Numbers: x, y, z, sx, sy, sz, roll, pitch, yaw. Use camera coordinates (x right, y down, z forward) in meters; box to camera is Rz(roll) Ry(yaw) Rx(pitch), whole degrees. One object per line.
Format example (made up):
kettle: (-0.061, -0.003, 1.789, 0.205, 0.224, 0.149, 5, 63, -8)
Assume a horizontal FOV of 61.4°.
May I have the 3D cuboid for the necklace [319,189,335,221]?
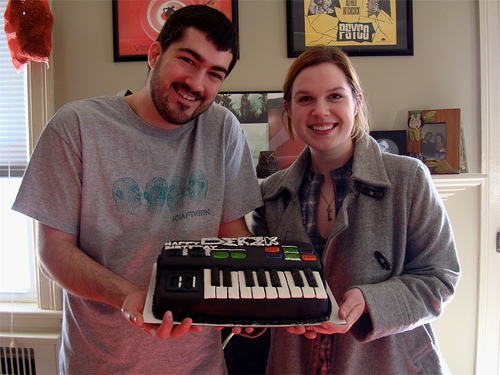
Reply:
necklace: (0.316, 0.075, 1.747, 0.065, 0.116, 0.032, 3, 6, 44)
